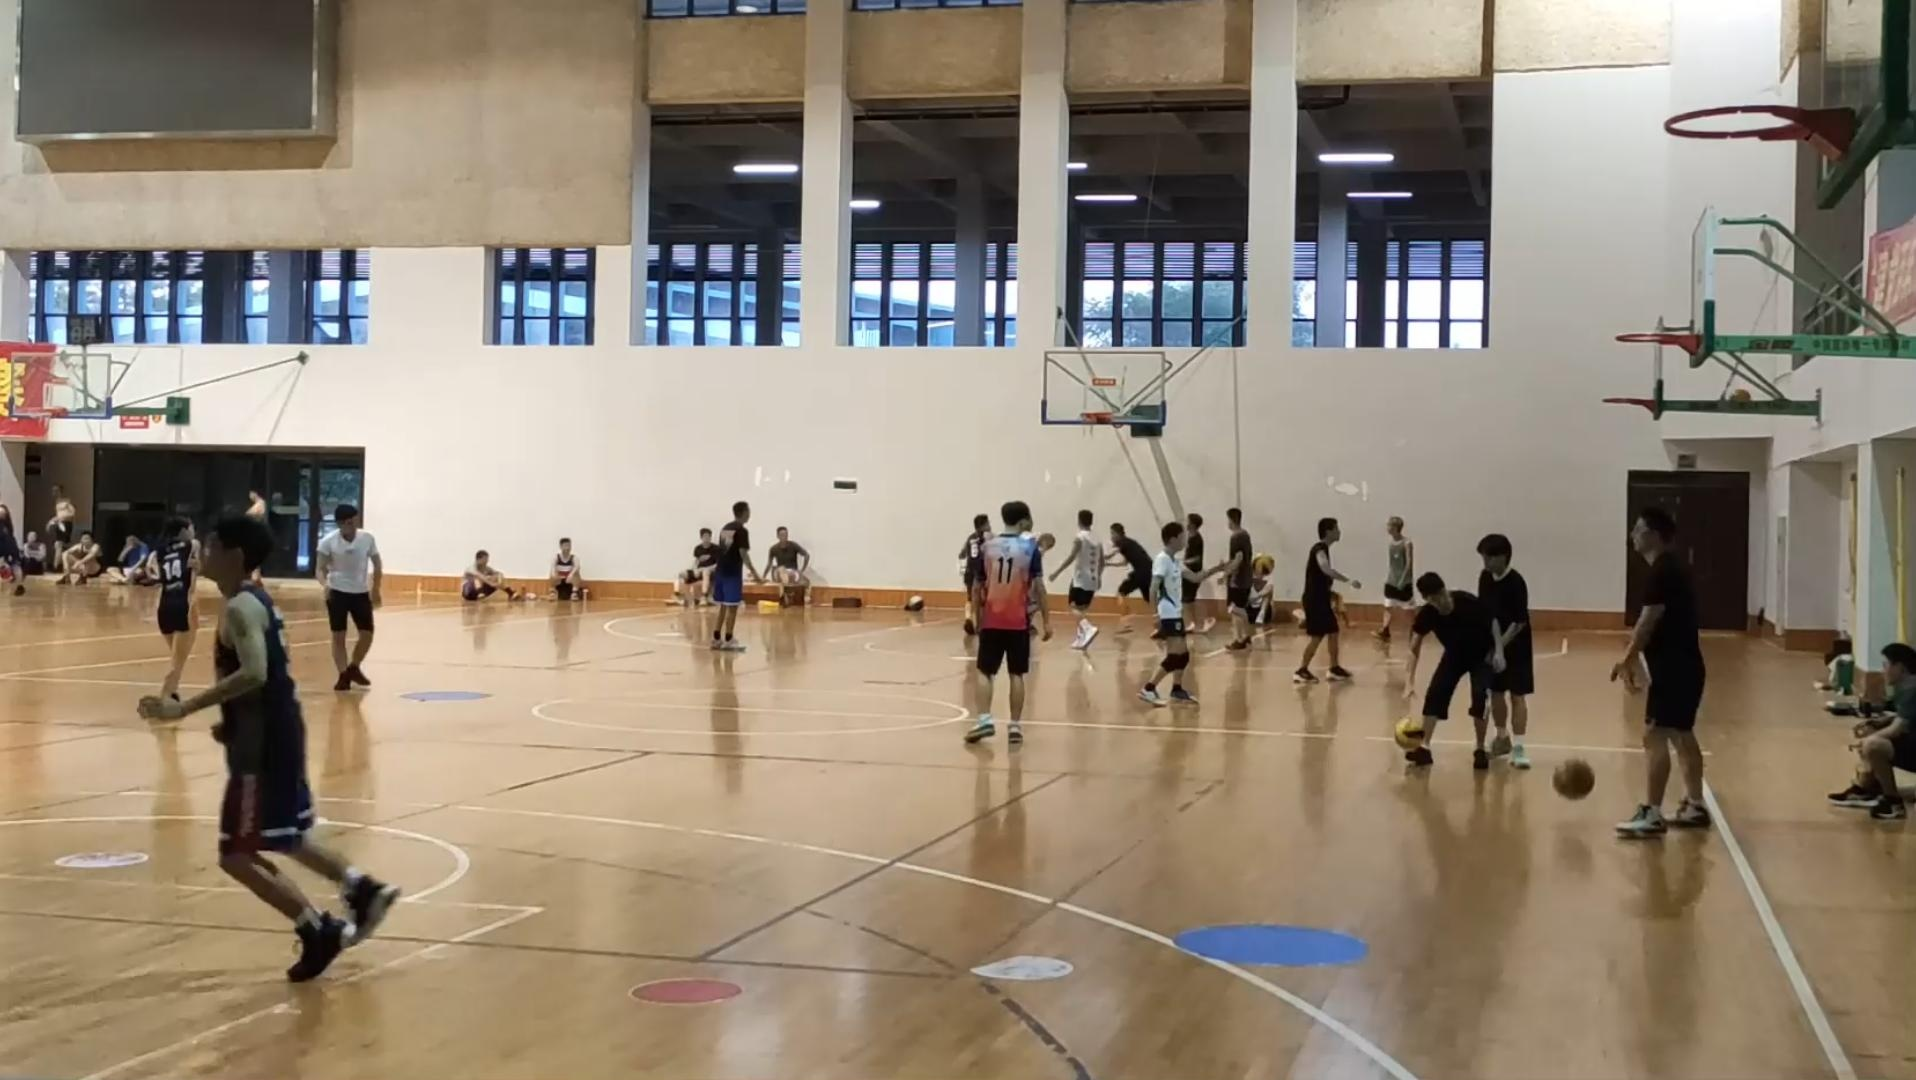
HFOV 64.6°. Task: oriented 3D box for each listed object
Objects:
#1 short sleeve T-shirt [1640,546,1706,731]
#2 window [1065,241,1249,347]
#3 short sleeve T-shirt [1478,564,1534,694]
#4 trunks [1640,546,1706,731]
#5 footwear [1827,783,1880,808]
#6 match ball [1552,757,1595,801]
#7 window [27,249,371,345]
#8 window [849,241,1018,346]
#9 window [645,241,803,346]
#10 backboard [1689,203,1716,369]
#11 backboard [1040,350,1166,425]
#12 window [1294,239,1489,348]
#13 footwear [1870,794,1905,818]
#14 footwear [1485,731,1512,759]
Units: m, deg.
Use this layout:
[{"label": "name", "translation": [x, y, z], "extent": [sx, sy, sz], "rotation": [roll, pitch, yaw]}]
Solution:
[{"label": "short sleeve T-shirt", "translation": [6.737, 0.983, 14.371], "extent": [0.550, 1.695, 0.564], "rotation": [5, 13, 22]}, {"label": "window", "translation": [5.350, -6.532, 39.996], "extent": [4.911, 3.166, 0.218], "rotation": [0, 0, 5]}, {"label": "short sleeve T-shirt", "translation": [5.897, 1.034, 16.429], "extent": [0.564, 1.396, 0.537], "rotation": [5, 13, 23]}, {"label": "trunks", "translation": [6.745, 0.978, 14.403], "extent": [0.554, 1.695, 0.628], "rotation": [5, 13, 24]}, {"label": "footwear", "translation": [9.058, 2.610, 15.375], "extent": [0.466, 0.193, 0.185], "rotation": [1, -2, 27]}, {"label": "match ball", "translation": [5.977, 2.364, 14.757], "extent": [0.353, 0.364, 0.254], "rotation": [-10, 15, -41]}, {"label": "window", "translation": [-20.542, -6.399, 40.885], "extent": [9.965, 2.928, 0.250], "rotation": [1, 2, 5]}, {"label": "window", "translation": [-0.512, -6.570, 40.244], "extent": [4.978, 2.928, 0.226], "rotation": [0, 1, 15]}, {"label": "window", "translation": [-6.716, -6.875, 42.839], "extent": [5.130, 2.969, 0.484], "rotation": [9, 12, 42]}, {"label": "backboard", "translation": [10.928, -3.802, 22.301], "extent": [0.350, 2.044, 8.733], "rotation": [6, 12, 25]}, {"label": "backboard", "translation": [3.004, -3.045, 30.964], "extent": [1.946, 1.070, 1.857], "rotation": [1, -1, 4]}, {"label": "window", "translation": [11.708, -6.383, 39.997], "extent": [5.527, 3.081, 0.250], "rotation": [-5, 10, -26]}, {"label": "footwear", "translation": [9.218, 2.674, 15.071], "extent": [0.435, 0.188, 0.172], "rotation": [1, -3, -12]}, {"label": "footwear", "translation": [6.056, 2.302, 16.988], "extent": [0.351, 0.312, 0.209], "rotation": [-5, -8, 28]}]
